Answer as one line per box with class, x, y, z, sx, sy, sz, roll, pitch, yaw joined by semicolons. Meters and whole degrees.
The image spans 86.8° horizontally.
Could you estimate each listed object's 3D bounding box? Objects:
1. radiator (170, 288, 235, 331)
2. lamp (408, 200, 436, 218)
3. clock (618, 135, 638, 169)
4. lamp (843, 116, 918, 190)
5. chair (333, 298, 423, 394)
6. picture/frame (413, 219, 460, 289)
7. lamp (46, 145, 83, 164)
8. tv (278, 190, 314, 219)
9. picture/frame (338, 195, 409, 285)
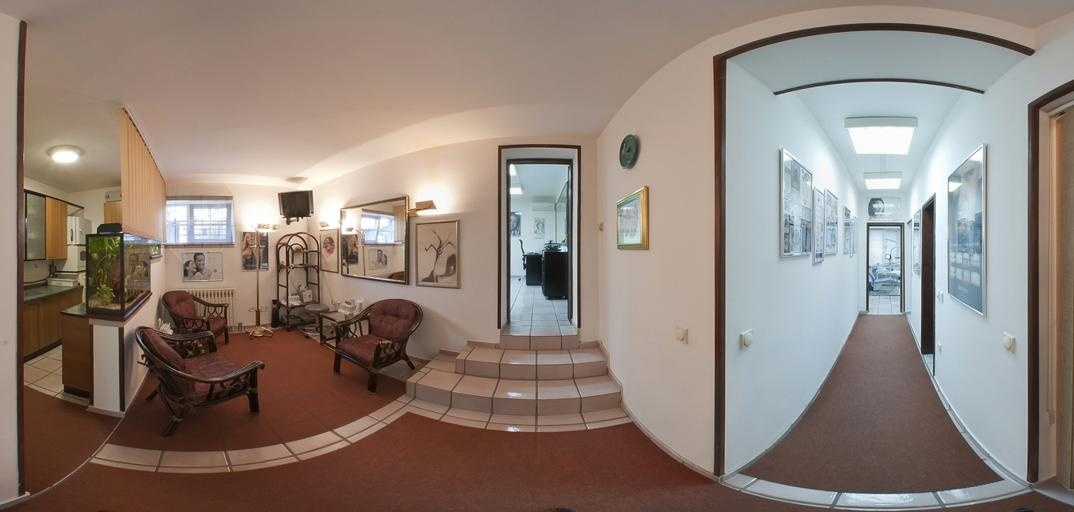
radiator;-5.883;0.930;10.037;0.995;0.775;0.793;-1;10;9
lamp;-1.866;-0.798;9.158;0.474;0.229;0.145;2;-1;25
clock;1.313;-1.508;7.992;0.114;0.385;0.430;3;13;-22
lamp;5.199;-1.492;8.575;0.866;0.262;1.452;-1;-12;26
chair;-2.493;1.335;9.254;1.637;1.136;1.435;7;8;35
picture/frame;-1.584;-0.045;9.095;0.780;1.039;0.057;2;-1;20
lamp;-6.203;-1.348;7.439;0.286;0.075;0.256;-5;-9;2
tv;-4.512;-0.996;10.624;0.619;0.432;0.283;2;15;2
picture/frame;-2.722;-0.301;9.623;1.914;1.143;0.085;2;2;32
